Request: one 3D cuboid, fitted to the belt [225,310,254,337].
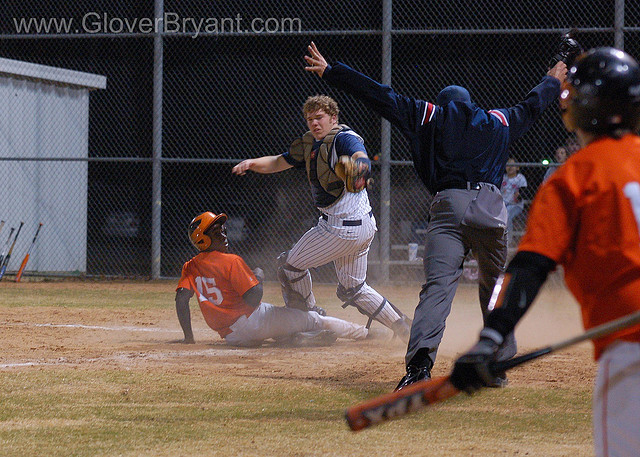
[{"bbox_3d":[-0.811,0.933,10.086,0.183,0.243,0.092,20,7,43],"label":"belt"}]

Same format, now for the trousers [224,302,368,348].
[{"bbox_3d":[-0.202,0.914,10.205,1.485,0.427,0.652,-3,31,19],"label":"trousers"}]

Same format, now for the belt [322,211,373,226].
[{"bbox_3d":[0.269,-0.102,10.035,0.490,0.125,0.209,0,7,-1],"label":"belt"}]

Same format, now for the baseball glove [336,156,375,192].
[{"bbox_3d":[0.266,-0.525,9.209,0.373,0.210,0.461,2,-5,1],"label":"baseball glove"}]

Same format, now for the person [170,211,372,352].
[{"bbox_3d":[-0.505,0.579,10.651,2.169,1.381,1.182,-1,-9,-34],"label":"person"}]
